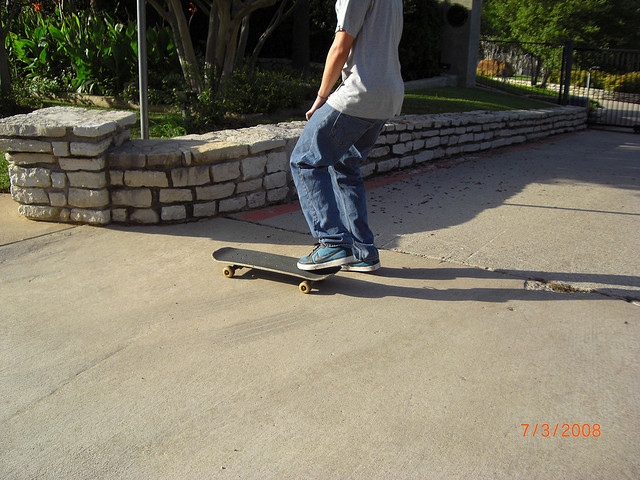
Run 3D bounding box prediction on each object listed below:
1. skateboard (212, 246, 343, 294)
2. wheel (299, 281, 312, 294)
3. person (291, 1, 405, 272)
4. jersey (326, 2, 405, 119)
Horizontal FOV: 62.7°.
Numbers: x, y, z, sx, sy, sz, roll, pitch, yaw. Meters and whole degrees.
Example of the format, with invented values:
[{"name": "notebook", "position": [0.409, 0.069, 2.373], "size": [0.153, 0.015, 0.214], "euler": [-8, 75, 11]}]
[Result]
[{"name": "skateboard", "position": [-0.368, 0.184, 3.958], "size": [1.054, 0.143, 0.372], "euler": [10, 19, 20]}, {"name": "wheel", "position": [-0.105, 0.342, 3.800], "size": [0.043, 0.073, 0.076], "euler": [-10, 22, -34]}, {"name": "person", "position": [0.198, -0.669, 3.854], "size": [0.828, 1.956, 0.393], "euler": [-3, 16, -6]}, {"name": "jersey", "position": [0.349, -1.254, 3.683], "size": [0.645, 0.802, 0.264], "euler": [-10, 18, -31]}]
